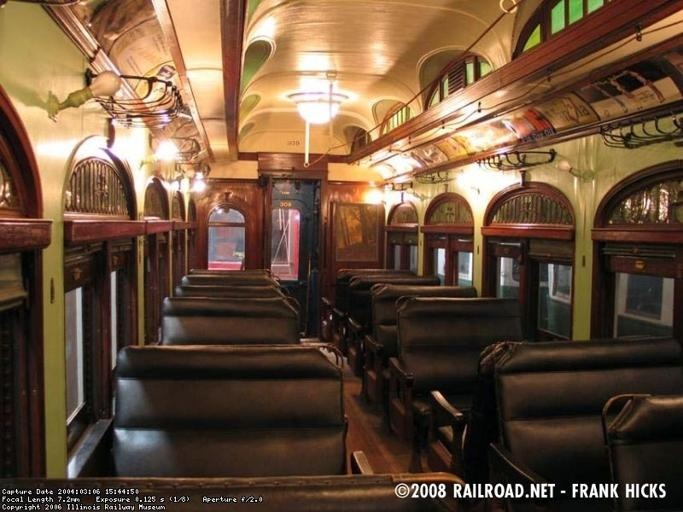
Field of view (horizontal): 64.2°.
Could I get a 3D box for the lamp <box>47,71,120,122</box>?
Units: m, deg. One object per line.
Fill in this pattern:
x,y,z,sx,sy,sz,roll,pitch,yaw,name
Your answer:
-1.705,-1.106,3.692,0.605,0.237,0.240,-11,18,22,lamp
